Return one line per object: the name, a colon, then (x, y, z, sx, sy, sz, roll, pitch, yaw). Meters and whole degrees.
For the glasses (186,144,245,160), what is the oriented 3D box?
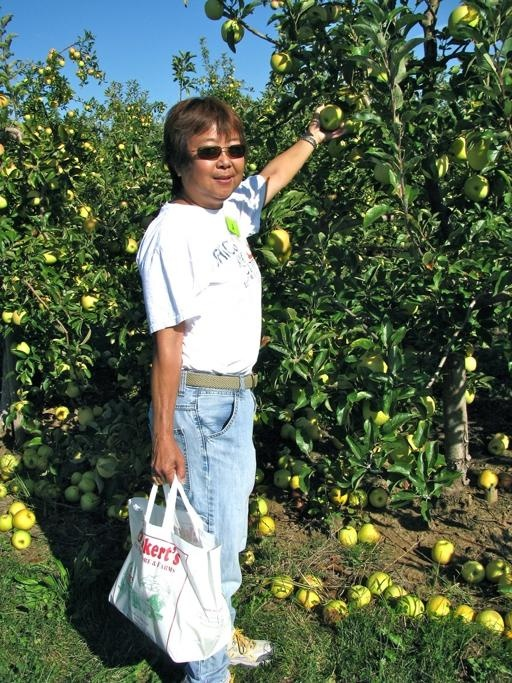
glasses: (-0.100, -0.553, 1.743, 0.094, 0.024, 0.088, -7, 10, -33)

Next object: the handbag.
handbag: (-0.220, 0.694, 1.783, 0.348, 0.601, 0.382, 9, -5, -18)
